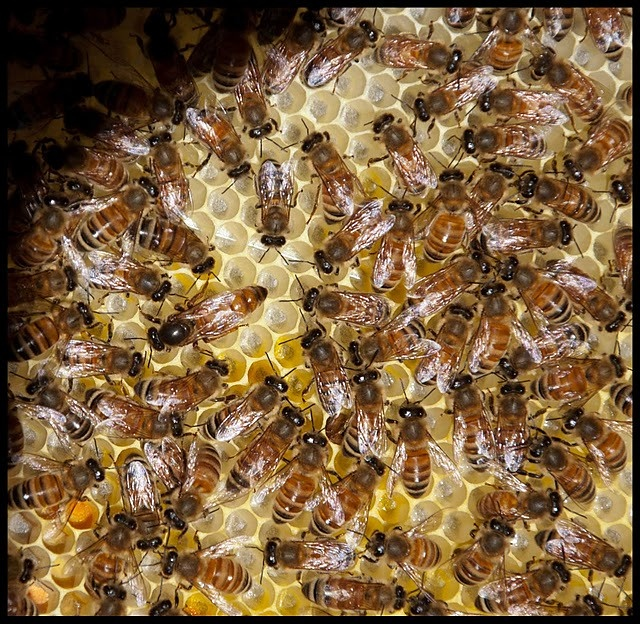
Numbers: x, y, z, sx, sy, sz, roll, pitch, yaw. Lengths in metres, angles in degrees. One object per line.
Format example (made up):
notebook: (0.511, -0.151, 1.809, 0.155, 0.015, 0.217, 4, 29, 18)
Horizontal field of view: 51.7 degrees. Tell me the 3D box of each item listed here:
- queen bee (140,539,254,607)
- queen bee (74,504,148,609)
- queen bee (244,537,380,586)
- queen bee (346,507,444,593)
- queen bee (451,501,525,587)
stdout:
queen bee: (-0.735, 1.686, 4.229, 0.628, 0.248, 0.441, -11, 86, -1)
queen bee: (-1.332, 1.563, 4.195, 0.393, 0.165, 0.580, 11, 87, -6)
queen bee: (-0.078, 1.540, 4.184, 0.370, 0.474, 0.294, -2, 95, 5)
queen bee: (0.518, 1.517, 4.133, 0.485, 0.183, 0.420, 7, 89, 11)
queen bee: (1.057, 1.507, 4.220, 0.330, 0.140, 0.468, 34, 79, 10)
